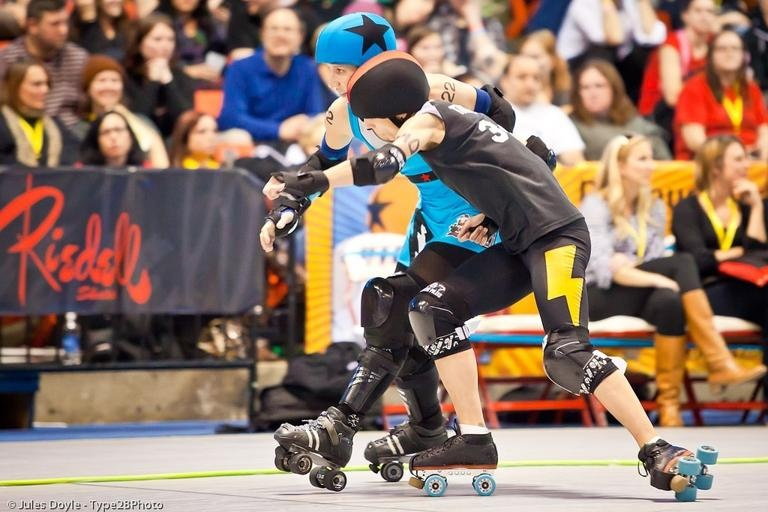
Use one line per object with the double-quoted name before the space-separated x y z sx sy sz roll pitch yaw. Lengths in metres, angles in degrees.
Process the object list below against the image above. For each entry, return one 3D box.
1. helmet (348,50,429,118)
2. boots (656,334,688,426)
"helmet" 0.034 -1.155 8.037 0.545 0.471 0.164 0 -1 -2
"boots" 2.491 1.073 10.395 0.241 0.697 0.510 0 10 14
